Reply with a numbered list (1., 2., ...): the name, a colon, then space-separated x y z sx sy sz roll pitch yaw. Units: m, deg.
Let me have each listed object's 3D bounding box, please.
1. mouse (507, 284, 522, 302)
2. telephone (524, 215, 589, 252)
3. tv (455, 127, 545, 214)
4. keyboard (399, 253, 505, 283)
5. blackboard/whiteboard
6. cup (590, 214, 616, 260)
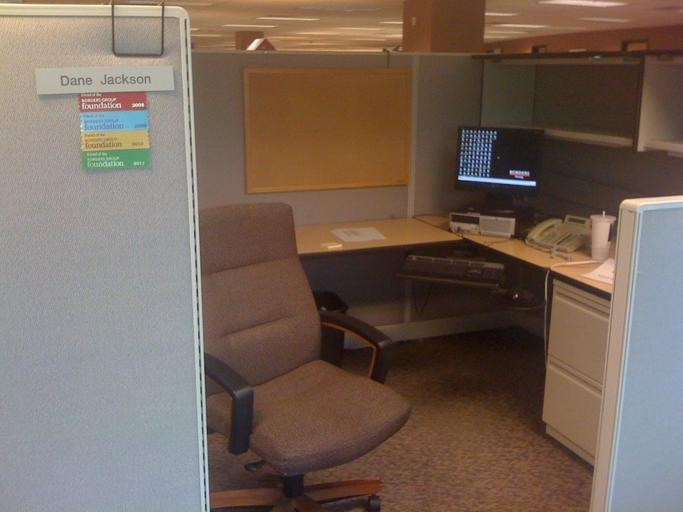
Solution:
1. mouse: 1.007 0.219 3.377 0.076 0.090 0.059 0 56 12
2. telephone: 1.108 -0.114 2.942 0.230 0.119 0.229 -21 21 -30
3. tv: 0.887 -0.497 3.266 0.518 0.513 0.173 3 5 26
4. keyboard: 0.573 0.064 2.946 0.350 0.072 0.208 6 6 6
5. blackboard/whiteboard: -0.123 -0.735 3.287 0.757 0.497 0.023 -5 18 -14
6. cup: 1.230 -0.102 2.760 0.095 0.202 0.213 5 19 23
